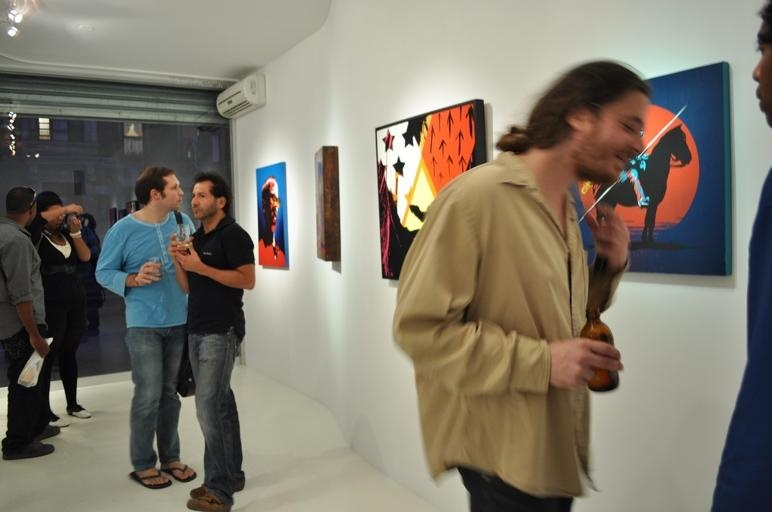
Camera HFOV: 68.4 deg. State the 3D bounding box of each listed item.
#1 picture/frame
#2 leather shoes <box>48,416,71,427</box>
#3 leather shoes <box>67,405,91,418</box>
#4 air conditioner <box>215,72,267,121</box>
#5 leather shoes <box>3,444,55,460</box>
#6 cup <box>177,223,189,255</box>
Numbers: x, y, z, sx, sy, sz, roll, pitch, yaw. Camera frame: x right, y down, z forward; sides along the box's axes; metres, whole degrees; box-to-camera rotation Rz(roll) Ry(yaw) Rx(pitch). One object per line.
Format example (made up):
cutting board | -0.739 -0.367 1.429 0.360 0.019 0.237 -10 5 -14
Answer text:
picture/frame | 0.210 -0.369 2.758 0.108 1.083 1.044 1 -6 -24
leather shoes | -2.590 1.297 4.478 0.133 0.047 0.070 1 4 25
leather shoes | -2.559 1.276 4.716 0.231 0.090 0.085 2 0 10
air conditioner | -1.491 -1.606 5.729 0.222 0.316 0.638 -11 6 -41
leather shoes | -2.513 1.368 3.993 0.296 0.116 0.108 -1 1 -23
cup | -1.196 -0.100 3.314 0.056 0.143 0.079 -2 5 -29
